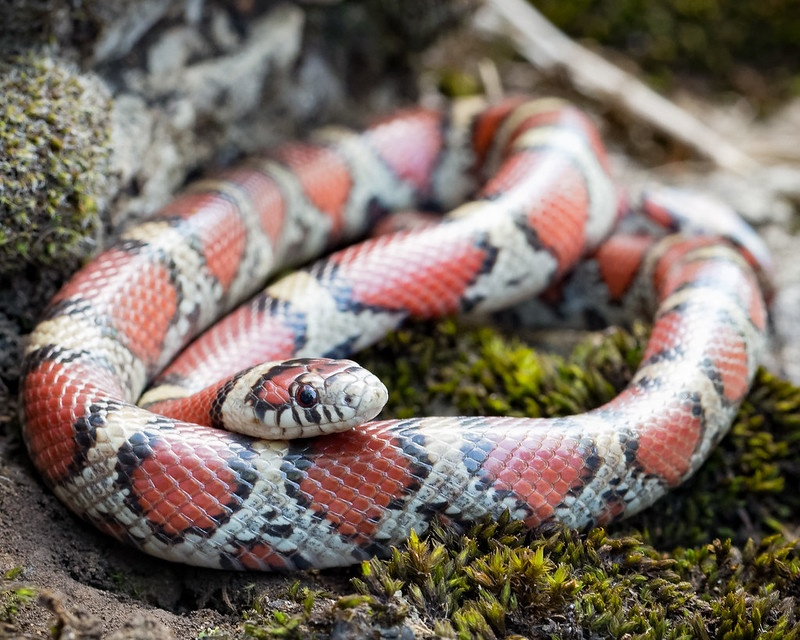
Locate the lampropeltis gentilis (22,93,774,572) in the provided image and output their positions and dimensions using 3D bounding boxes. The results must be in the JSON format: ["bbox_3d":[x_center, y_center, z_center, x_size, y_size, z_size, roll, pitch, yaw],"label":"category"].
[{"bbox_3d":[-0.127,0.153,4.452,2.402,2.057,1.810,0,18,-10],"label":"lampropeltis gentilis"}]
